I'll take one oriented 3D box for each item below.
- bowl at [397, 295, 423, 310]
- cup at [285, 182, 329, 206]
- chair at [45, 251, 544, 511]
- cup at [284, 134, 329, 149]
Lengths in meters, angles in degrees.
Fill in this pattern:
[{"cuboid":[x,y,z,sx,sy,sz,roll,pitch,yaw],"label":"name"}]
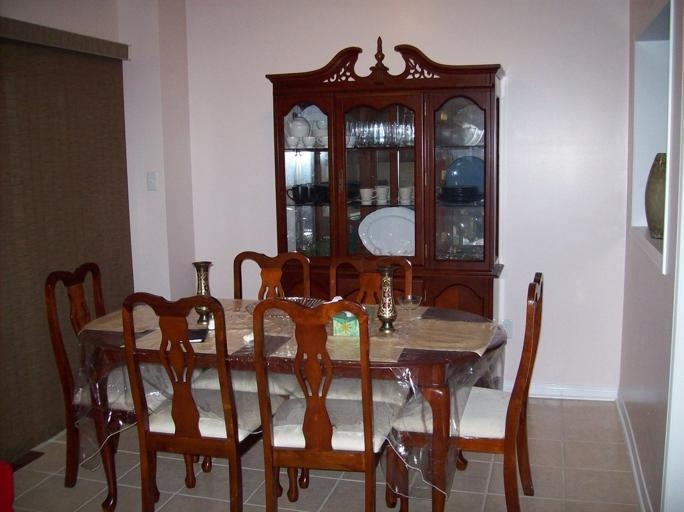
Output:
[{"cuboid":[0.331,0.230,2.853,0.088,0.045,0.093,0,8,0],"label":"bowl"},{"cuboid":[-0.241,-0.431,3.873,0.215,0.110,0.149,-2,7,1],"label":"cup"},{"cuboid":[-0.172,0.686,2.767,2.203,1.198,0.842,2,10,15],"label":"chair"},{"cuboid":[-0.252,-0.781,3.843,0.199,0.085,0.126,0,10,6],"label":"cup"}]
